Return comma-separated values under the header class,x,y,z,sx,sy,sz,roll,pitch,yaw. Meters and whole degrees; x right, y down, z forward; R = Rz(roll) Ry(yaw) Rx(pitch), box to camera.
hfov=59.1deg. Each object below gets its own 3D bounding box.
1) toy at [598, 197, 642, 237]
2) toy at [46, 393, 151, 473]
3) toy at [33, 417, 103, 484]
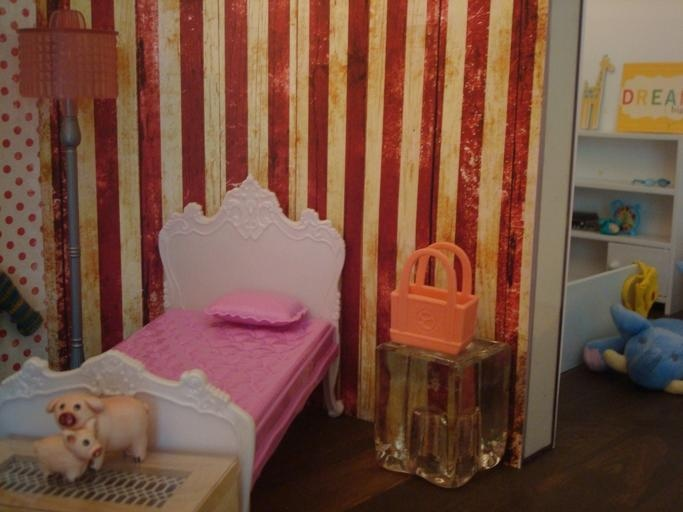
class,x,y,z,sx,sy,sz,roll,pitch,yaw
toy,2.670,-0.362,5.764,0.341,0.304,0.303,12,21,29
toy,-1.009,0.735,2.556,0.266,0.301,0.448,-2,-8,32
toy,-1.119,0.786,2.468,0.247,0.238,0.190,1,21,-7
